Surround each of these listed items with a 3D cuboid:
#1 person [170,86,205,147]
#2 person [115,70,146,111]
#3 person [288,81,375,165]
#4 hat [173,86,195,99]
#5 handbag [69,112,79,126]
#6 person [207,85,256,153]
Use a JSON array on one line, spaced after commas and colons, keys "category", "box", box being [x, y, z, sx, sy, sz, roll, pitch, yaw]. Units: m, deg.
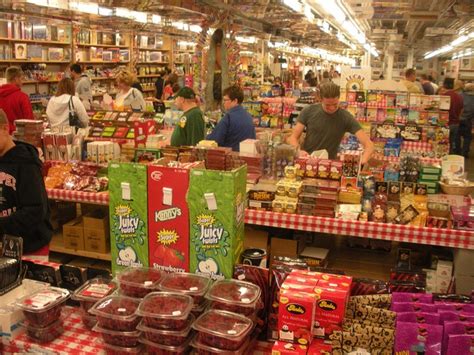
[{"category": "person", "box": [-0.655, -0.826, 5.119, 0.458, 0.776, 0.594, 2, 9, -7]}, {"category": "person", "box": [-2.161, -1.770, 7.726, 0.606, 0.768, 0.838, 1, 10, -14]}, {"category": "person", "box": [1.156, -0.659, 4.607, 0.967, 0.929, 0.778, 7, 10, 21]}, {"category": "hat", "box": [-0.710, -1.152, 5.276, 0.288, 0.147, 0.211, 10, 16, 33]}, {"category": "handbag", "box": [-2.525, -0.900, 5.886, 0.138, 0.204, 0.183, 0, 10, -16]}, {"category": "person", "box": [-0.059, -0.795, 5.097, 0.629, 0.852, 0.471, 1, 9, -14]}]
